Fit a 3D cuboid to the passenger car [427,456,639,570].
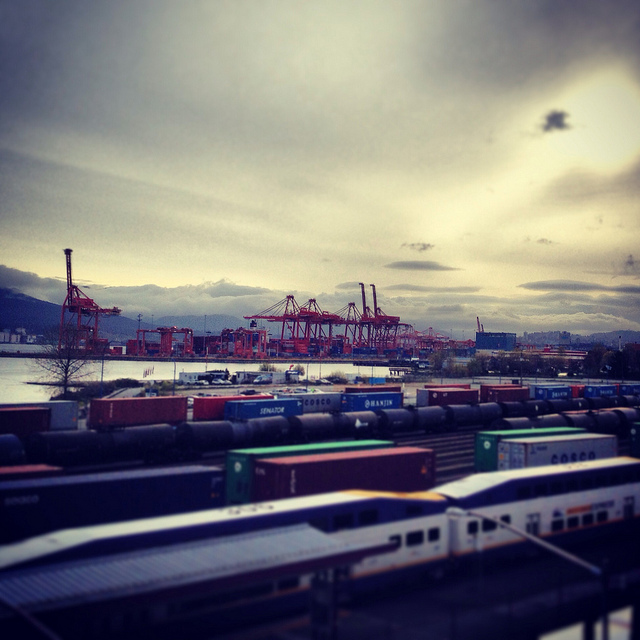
[{"bbox_3d":[10.019,8.506,29.703,11.686,3.462,1.428,2,-2,-33],"label":"passenger car"}]
